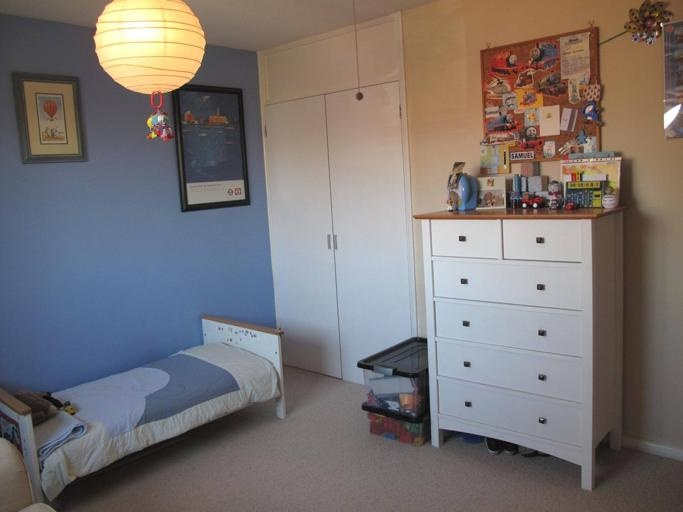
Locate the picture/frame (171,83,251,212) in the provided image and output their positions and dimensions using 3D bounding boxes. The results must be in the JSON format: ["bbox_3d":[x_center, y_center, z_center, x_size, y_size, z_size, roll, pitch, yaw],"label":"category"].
[{"bbox_3d":[-1.105,-0.919,4.416,0.164,0.990,0.705,9,18,41],"label":"picture/frame"}]

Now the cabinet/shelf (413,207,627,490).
[{"bbox_3d":[1.171,0.482,3.425,1.106,1.639,0.634,4,14,42],"label":"cabinet/shelf"}]

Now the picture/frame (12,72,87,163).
[{"bbox_3d":[-2.038,-0.959,3.619,0.524,0.771,0.057,-14,18,-38],"label":"picture/frame"}]

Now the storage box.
[{"bbox_3d":[0.480,0.933,3.766,0.448,0.473,0.616,3,12,34],"label":"storage box"}]

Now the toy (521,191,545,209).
[{"bbox_3d":[1.251,-0.376,3.402,0.145,0.095,0.085,3,12,37],"label":"toy"}]

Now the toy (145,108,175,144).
[{"bbox_3d":[-0.930,-0.668,2.672,0.103,0.157,0.310,-9,15,-20],"label":"toy"}]

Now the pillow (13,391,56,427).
[{"bbox_3d":[-1.873,0.909,3.230,0.273,0.134,0.161,8,18,39],"label":"pillow"}]
